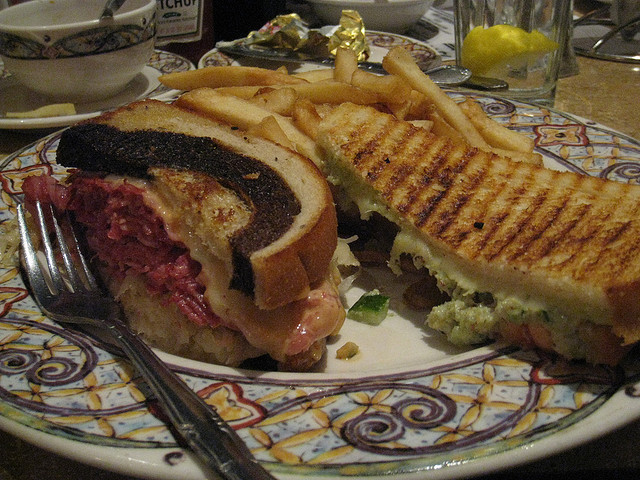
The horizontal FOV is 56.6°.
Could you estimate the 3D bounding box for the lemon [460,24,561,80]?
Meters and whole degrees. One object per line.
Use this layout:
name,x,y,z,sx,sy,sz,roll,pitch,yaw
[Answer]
lemon,0.947,-0.950,3.002,0.390,0.257,0.305,0,33,-4

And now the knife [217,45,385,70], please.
knife,-0.161,-1.037,3.323,0.733,0.067,0.372,21,33,32
